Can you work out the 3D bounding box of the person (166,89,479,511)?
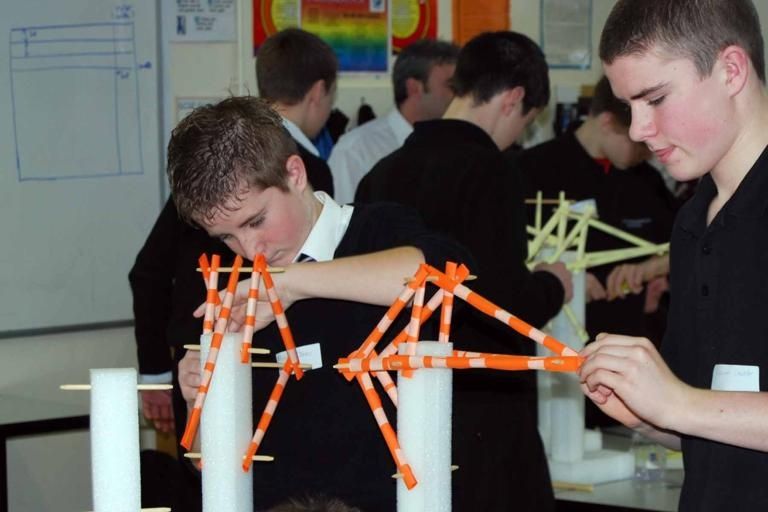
[{"bbox_3d":[-0.148,0.116,1.813,0.591,0.920,0.319,-2,6,-26],"label":"person"}]
